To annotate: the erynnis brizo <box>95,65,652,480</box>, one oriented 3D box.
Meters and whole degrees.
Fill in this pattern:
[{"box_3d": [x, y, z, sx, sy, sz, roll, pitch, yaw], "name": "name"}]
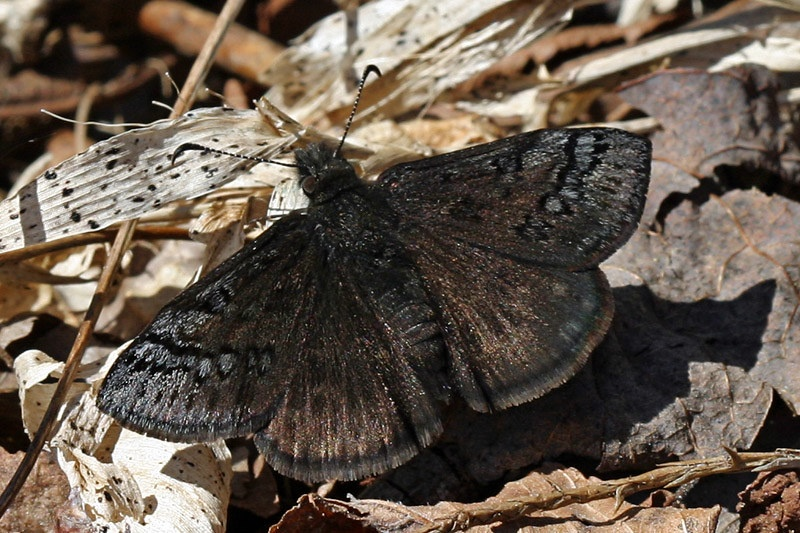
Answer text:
[{"box_3d": [-0.027, 0.150, 4.148, 2.159, 1.787, 2.148, 1, 37, 1], "name": "erynnis brizo"}]
